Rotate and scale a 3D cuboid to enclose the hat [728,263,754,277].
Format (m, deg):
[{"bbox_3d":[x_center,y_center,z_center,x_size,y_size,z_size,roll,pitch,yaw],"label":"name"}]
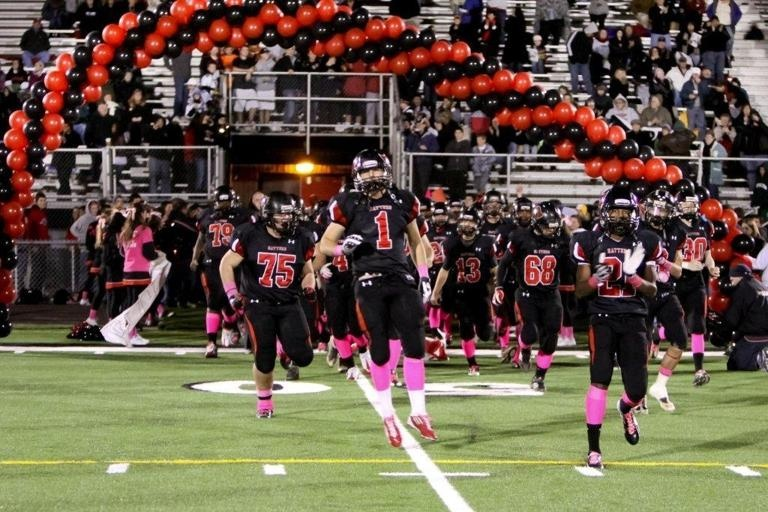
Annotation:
[{"bbox_3d":[5.497,0.217,16.608,0.246,0.170,0.198,6,-10,33],"label":"hat"}]

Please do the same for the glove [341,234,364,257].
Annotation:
[{"bbox_3d":[-0.322,-0.093,11.736,0.179,0.244,0.102,26,-17,46],"label":"glove"}]

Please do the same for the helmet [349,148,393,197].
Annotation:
[{"bbox_3d":[-0.132,-0.948,12.073,0.372,0.434,0.498,-3,1,-4],"label":"helmet"}]

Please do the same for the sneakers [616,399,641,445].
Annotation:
[{"bbox_3d":[2.561,1.684,11.490,0.201,0.664,0.274,-9,-8,9],"label":"sneakers"}]

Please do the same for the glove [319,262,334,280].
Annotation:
[{"bbox_3d":[-0.736,0.191,13.868,0.160,0.237,0.082,-9,-30,-6],"label":"glove"}]

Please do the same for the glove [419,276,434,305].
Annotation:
[{"bbox_3d":[0.505,0.409,12.109,0.086,0.265,0.178,6,10,-11],"label":"glove"}]

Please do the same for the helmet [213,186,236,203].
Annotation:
[{"bbox_3d":[-2.393,-0.917,16.321,0.206,0.278,0.236,0,0,-6],"label":"helmet"}]

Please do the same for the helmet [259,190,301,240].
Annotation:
[{"bbox_3d":[-1.190,-0.465,12.504,0.400,0.452,0.489,-5,13,-29],"label":"helmet"}]

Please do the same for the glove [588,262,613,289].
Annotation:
[{"bbox_3d":[2.234,0.219,11.108,0.188,0.244,0.228,-1,0,-10],"label":"glove"}]

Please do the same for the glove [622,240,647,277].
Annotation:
[{"bbox_3d":[2.580,0.038,11.111,0.194,0.343,0.094,18,-30,26],"label":"glove"}]

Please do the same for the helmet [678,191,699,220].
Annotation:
[{"bbox_3d":[4.181,-0.695,14.875,0.261,0.344,0.336,1,-11,7],"label":"helmet"}]

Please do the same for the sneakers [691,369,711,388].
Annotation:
[{"bbox_3d":[4.382,1.716,14.963,0.160,0.168,0.333,-3,-16,-5],"label":"sneakers"}]

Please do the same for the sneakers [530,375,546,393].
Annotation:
[{"bbox_3d":[2.067,1.730,14.473,0.181,0.219,0.271,-1,0,8],"label":"sneakers"}]

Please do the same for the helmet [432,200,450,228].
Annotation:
[{"bbox_3d":[0.885,-0.617,16.874,0.268,0.400,0.375,0,-1,1],"label":"helmet"}]

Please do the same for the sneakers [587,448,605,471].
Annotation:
[{"bbox_3d":[2.154,2.103,10.999,0.170,0.236,0.495,0,-5,7],"label":"sneakers"}]

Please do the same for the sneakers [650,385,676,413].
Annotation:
[{"bbox_3d":[3.484,1.782,13.467,0.274,0.362,0.246,-1,0,27],"label":"sneakers"}]

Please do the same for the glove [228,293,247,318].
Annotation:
[{"bbox_3d":[-1.694,0.559,12.500,0.173,0.241,0.281,-1,0,-9],"label":"glove"}]

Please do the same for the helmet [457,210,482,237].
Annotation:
[{"bbox_3d":[1.274,-0.427,15.786,0.271,0.403,0.346,1,-39,1],"label":"helmet"}]

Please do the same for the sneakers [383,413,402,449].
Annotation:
[{"bbox_3d":[0.110,1.877,11.492,0.148,0.335,0.221,-1,0,-16],"label":"sneakers"}]

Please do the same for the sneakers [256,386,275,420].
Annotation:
[{"bbox_3d":[-1.400,1.747,12.730,0.195,0.359,0.229,-1,0,-8],"label":"sneakers"}]

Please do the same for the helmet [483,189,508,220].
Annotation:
[{"bbox_3d":[1.696,-0.777,16.467,0.296,0.431,0.408,1,5,1],"label":"helmet"}]

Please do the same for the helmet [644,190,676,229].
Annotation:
[{"bbox_3d":[3.363,-0.578,13.168,0.361,0.502,0.436,-1,0,14],"label":"helmet"}]

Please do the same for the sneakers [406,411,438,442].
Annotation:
[{"bbox_3d":[0.417,1.841,11.689,0.461,0.223,0.158,26,-9,43],"label":"sneakers"}]

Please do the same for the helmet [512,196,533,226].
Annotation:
[{"bbox_3d":[1.987,-0.633,15.351,0.270,0.381,0.356,2,-9,7],"label":"helmet"}]
